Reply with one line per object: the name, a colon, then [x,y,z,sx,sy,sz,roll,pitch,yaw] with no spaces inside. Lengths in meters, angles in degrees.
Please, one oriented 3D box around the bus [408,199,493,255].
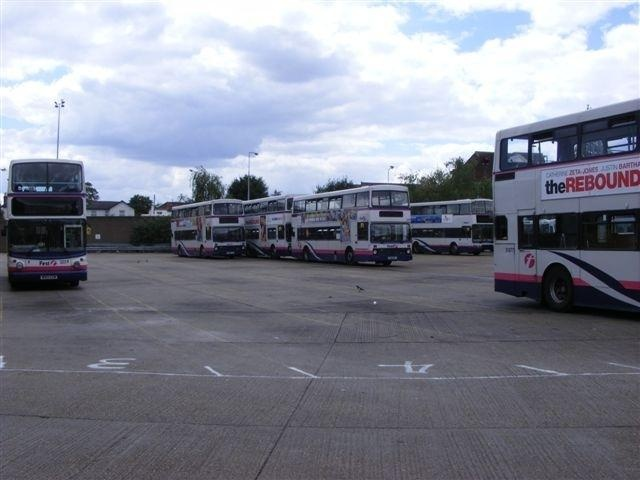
bus: [12.295,-1.075,55.783,4.170,6.039,11.487,-1,0,-26]
